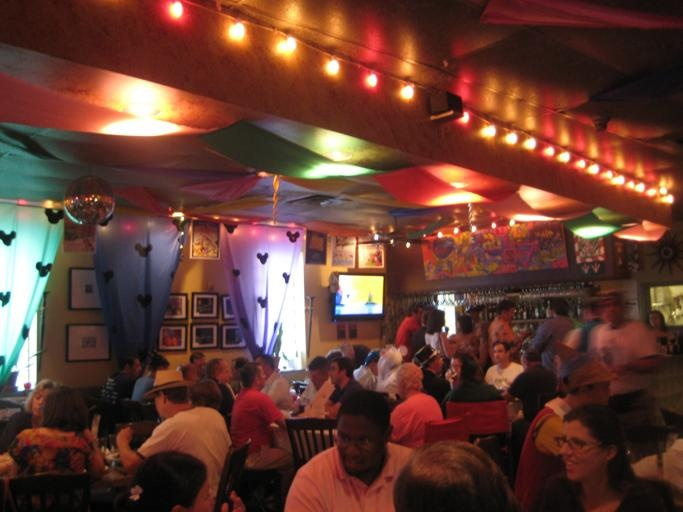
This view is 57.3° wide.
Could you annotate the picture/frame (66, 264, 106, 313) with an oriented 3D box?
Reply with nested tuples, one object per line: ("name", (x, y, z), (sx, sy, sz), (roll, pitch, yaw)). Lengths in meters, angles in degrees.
("picture/frame", (-3.704, 0.457, 8.997), (0.666, 0.752, 0.095), (3, -12, -36))

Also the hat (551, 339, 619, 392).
("hat", (1.622, 0.737, 4.207), (0.365, 0.376, 0.300), (-17, -6, 17))

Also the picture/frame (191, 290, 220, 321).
("picture/frame", (-2.258, 0.811, 10.280), (0.508, 0.435, 0.058), (4, -11, -38))

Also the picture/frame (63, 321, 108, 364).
("picture/frame", (-3.710, 1.244, 8.978), (0.602, 0.561, 0.059), (5, -11, -35))

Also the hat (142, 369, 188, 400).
("hat", (-1.476, 1.051, 5.337), (0.298, 0.128, 0.336), (-1, -26, -42))

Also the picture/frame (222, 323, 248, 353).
("picture/frame", (-1.812, 1.352, 10.502), (0.052, 0.540, 0.461), (-6, 3, 44))

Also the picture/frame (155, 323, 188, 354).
("picture/frame", (-2.672, 1.282, 9.731), (0.520, 0.455, 0.046), (6, -13, -43))

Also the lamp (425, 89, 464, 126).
("lamp", (0.902, -1.322, 5.430), (0.271, 0.306, 0.175), (-7, -8, 34))

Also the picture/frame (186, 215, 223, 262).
("picture/frame", (-2.171, -0.317, 9.874), (0.602, 0.824, 0.086), (4, -8, -40))
